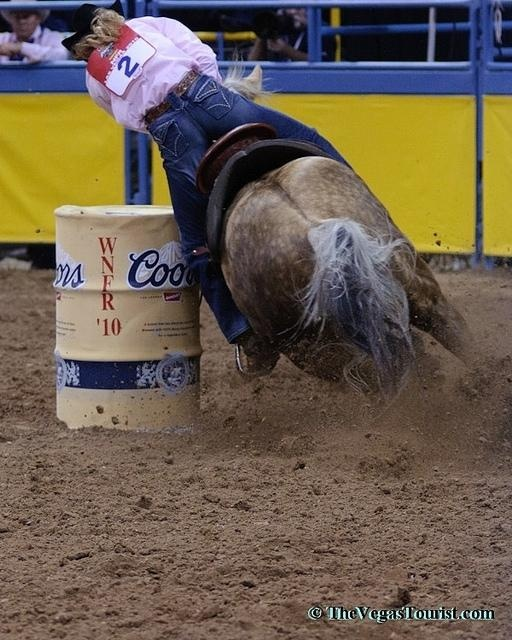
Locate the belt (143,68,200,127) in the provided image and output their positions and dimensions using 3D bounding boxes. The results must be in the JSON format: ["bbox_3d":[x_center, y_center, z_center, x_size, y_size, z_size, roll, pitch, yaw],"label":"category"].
[{"bbox_3d":[-0.393,-0.965,4.469,0.237,0.056,0.254,-35,1,-40],"label":"belt"}]

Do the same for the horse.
[{"bbox_3d":[0.184,-0.304,4.695,0.768,1.186,2.252,-16,25,-9],"label":"horse"}]
